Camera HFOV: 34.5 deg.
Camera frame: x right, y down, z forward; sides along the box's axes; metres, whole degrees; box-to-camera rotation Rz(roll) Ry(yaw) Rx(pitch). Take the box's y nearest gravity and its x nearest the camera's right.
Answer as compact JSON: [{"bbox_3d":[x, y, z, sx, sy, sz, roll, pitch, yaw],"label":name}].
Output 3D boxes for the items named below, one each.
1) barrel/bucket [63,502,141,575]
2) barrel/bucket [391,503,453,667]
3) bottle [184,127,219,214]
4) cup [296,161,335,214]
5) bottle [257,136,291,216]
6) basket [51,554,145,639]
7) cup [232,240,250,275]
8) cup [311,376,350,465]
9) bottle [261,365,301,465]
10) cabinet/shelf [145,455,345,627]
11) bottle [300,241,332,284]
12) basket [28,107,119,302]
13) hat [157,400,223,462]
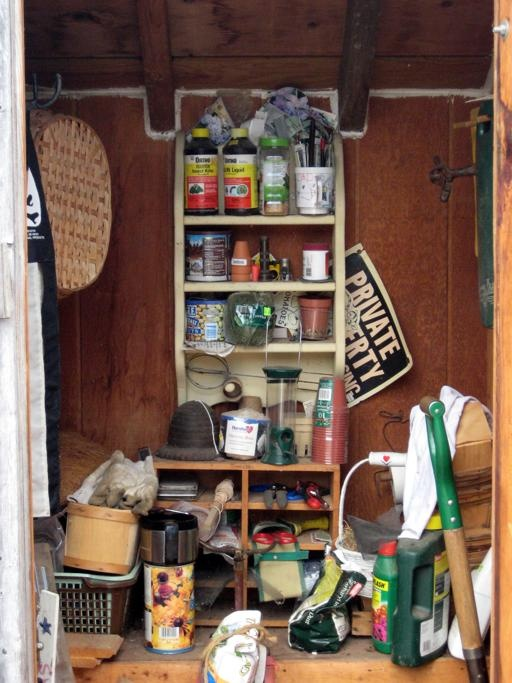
[{"bbox_3d":[-0.514,0.654,2.795,0.235,0.176,0.220,5,-7,1],"label":"barrel/bucket"},{"bbox_3d":[0.502,0.767,2.545,0.102,0.449,0.232,3,10,40],"label":"barrel/bucket"},{"bbox_3d":[-0.212,-0.614,3.036,0.136,0.312,0.087,-4,8,-1],"label":"bottle"},{"bbox_3d":[0.211,-0.540,2.980,0.157,0.173,0.157,0,6,0],"label":"cup"},{"bbox_3d":[0.063,-0.603,3.079,0.126,0.283,0.198,-4,8,3],"label":"bottle"},{"bbox_3d":[-0.525,0.859,2.762,0.238,0.180,0.299,-1,-18,1],"label":"basket"},{"bbox_3d":[-0.060,-0.296,3.084,0.078,0.145,0.143,-4,8,-1],"label":"cup"},{"bbox_3d":[0.262,0.293,2.996,0.139,0.299,0.177,-3,8,5],"label":"cup"},{"bbox_3d":[0.091,0.262,3.080,0.155,0.363,0.355,-4,8,2],"label":"bottle"},{"bbox_3d":[-0.050,0.700,3.012,0.647,0.612,0.216,1,-32,-3],"label":"cabinet/shelf"},{"bbox_3d":[0.215,-0.286,3.097,0.129,0.144,0.128,6,-7,-43],"label":"bottle"},{"bbox_3d":[-0.551,-0.414,2.509,0.107,0.456,0.419,1,-3,26],"label":"basket"},{"bbox_3d":[-0.241,0.304,2.999,0.201,0.176,0.218,-1,4,-16],"label":"hat"}]
